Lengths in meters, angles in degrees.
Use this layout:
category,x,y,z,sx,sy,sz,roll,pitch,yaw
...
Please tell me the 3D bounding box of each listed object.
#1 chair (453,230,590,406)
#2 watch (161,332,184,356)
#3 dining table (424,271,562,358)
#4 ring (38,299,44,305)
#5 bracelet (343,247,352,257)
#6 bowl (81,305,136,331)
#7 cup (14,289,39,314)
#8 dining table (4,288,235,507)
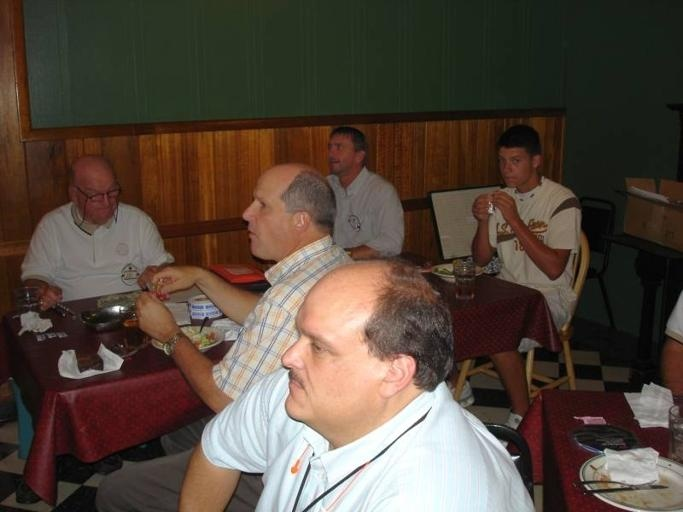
category,x,y,z,sx,sy,sz,roll,pitch,yaw
chair,1.348,0.417,3.532,0.659,1.244,0.731,2,-4,19
watch,-0.627,0.324,1.926,0.037,0.061,0.060,41,44,7
dining table,0.892,0.400,3.035,0.800,0.274,0.878,2,-6,36
ring,-1.418,0.218,2.444,0.004,0.018,0.018,13,1,35
bracelet,0.037,-0.035,3.372,0.069,0.027,0.071,1,11,4
bowl,-1.044,0.273,2.335,0.142,0.050,0.128,-11,21,-20
cup,-1.457,0.199,2.420,0.106,0.121,0.103,2,9,0
dining table,-0.822,0.521,2.042,0.734,0.281,0.735,-14,40,-39
